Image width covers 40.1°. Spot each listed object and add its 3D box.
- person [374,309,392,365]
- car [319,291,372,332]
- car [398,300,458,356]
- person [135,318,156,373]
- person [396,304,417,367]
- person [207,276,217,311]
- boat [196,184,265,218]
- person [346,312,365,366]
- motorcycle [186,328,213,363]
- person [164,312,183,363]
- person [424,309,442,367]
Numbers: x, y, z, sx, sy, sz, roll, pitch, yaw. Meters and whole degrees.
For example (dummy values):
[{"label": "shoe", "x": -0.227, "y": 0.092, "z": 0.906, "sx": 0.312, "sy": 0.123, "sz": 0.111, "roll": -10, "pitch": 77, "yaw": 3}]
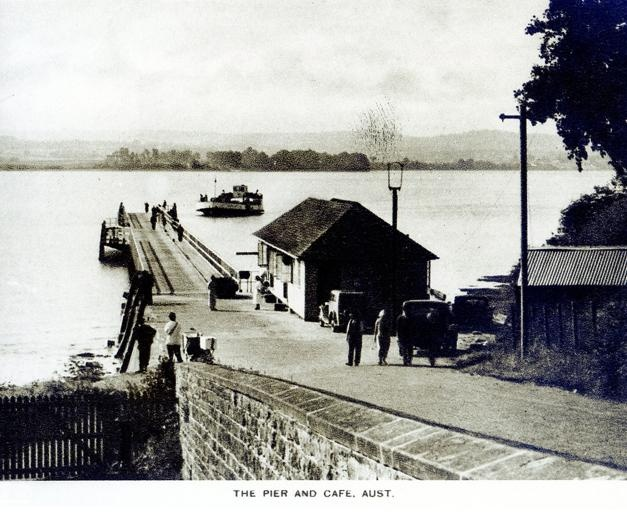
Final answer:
[{"label": "person", "x": 2.014, "y": 2.325, "z": 24.952, "sx": 0.436, "sy": 1.628, "sz": 1.701, "roll": 0, "pitch": 2, "yaw": 4}, {"label": "car", "x": 1.066, "y": 1.800, "z": 30.174, "sx": 1.013, "sy": 0.930, "sz": 1.823, "roll": 0, "pitch": 6, "yaw": -12}, {"label": "car", "x": 3.571, "y": 2.150, "z": 26.504, "sx": 1.172, "sy": 1.057, "sz": 1.997, "roll": 0, "pitch": 5, "yaw": 1}, {"label": "person", "x": -5.028, "y": 2.742, "z": 25.984, "sx": 0.588, "sy": 1.393, "sz": 1.141, "roll": -1, "pitch": 2, "yaw": -11}, {"label": "person", "x": 2.712, "y": 2.452, "z": 25.192, "sx": 0.470, "sy": 1.431, "sz": 0.845, "roll": 0, "pitch": 2, "yaw": 6}, {"label": "person", "x": -3.855, "y": 1.460, "z": 32.869, "sx": 0.294, "sy": 1.283, "sz": 0.769, "roll": -1, "pitch": 2, "yaw": -11}, {"label": "boat", "x": -7.259, "y": -4.942, "z": 77.424, "sx": 2.864, "sy": 2.889, "sz": 8.141, "roll": -2, "pitch": 2, "yaw": -41}, {"label": "person", "x": 1.145, "y": 2.350, "z": 24.374, "sx": 0.419, "sy": 1.607, "sz": 1.334, "roll": 0, "pitch": 2, "yaw": 2}, {"label": "motorcycle", "x": -3.000, "y": 2.333, "z": 23.415, "sx": 0.575, "sy": 0.742, "sz": 1.033, "roll": -2, "pitch": 22, "yaw": -22}, {"label": "person", "x": -3.804, "y": 2.222, "z": 23.542, "sx": 0.441, "sy": 1.309, "sz": 0.825, "roll": -1, "pitch": 2, "yaw": -10}, {"label": "person", "x": 3.568, "y": 2.467, "z": 25.682, "sx": 0.375, "sy": 1.758, "sz": 0.454, "roll": 1, "pitch": -15, "yaw": 15}]
